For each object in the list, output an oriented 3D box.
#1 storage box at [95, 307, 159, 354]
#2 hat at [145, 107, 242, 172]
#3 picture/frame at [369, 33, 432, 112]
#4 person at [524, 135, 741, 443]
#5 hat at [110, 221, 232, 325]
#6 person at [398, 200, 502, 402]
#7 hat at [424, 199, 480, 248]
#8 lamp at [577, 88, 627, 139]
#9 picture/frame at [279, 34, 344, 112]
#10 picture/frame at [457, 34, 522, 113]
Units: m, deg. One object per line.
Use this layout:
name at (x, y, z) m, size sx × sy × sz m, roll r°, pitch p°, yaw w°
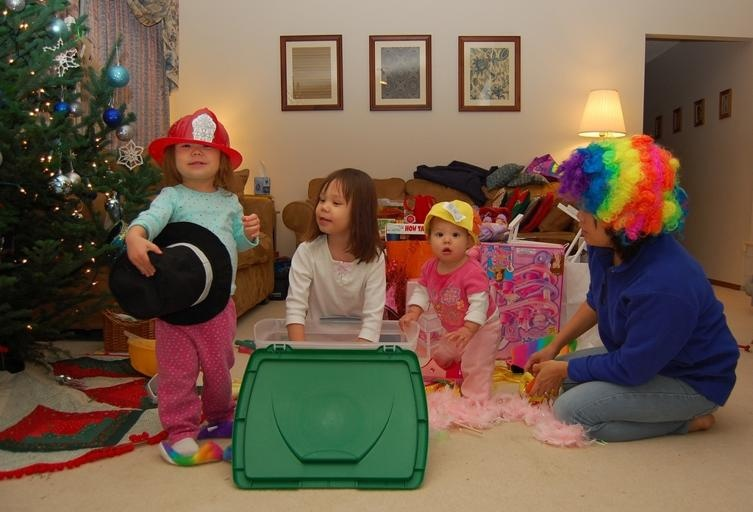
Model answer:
storage box at (-1.408, 0.420, 3.194) m, size 0.264 × 0.238 × 0.314 m, roll 1°, pitch 6°, yaw -2°
hat at (-0.714, -0.491, 2.274) m, size 0.359 × 0.181 × 0.364 m, roll 3°, pitch 0°, yaw 20°
picture/frame at (0.217, -1.780, 5.344) m, size 0.667 × 0.793 × 0.057 m, roll 1°, pitch 5°, yaw -5°
person at (1.030, 0.135, 2.297) m, size 0.704 × 1.185 × 0.578 m, roll 1°, pitch 15°, yaw 38°
hat at (-0.754, 0.060, 2.078) m, size 0.398 × 0.368 × 0.153 m, roll 28°, pitch -1°, yaw -15°
person at (0.353, 0.266, 2.609) m, size 0.497 × 1.011 × 0.478 m, roll -15°, pitch 20°, yaw -30°
hat at (0.340, -0.149, 2.536) m, size 0.248 × 0.196 × 0.188 m, roll 1°, pitch 14°, yaw 5°
lamp at (2.108, -1.313, 5.223) m, size 0.411 × 0.434 × 0.398 m, roll 5°, pitch 15°, yaw 22°
picture/frame at (-0.614, -1.770, 5.337) m, size 0.661 × 0.778 × 0.053 m, roll 0°, pitch 4°, yaw -2°
picture/frame at (1.065, -1.765, 5.342) m, size 0.680 × 0.810 × 0.063 m, roll 0°, pitch 4°, yaw -3°
